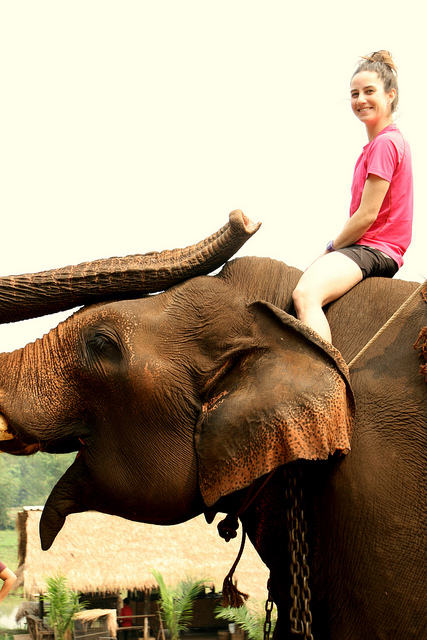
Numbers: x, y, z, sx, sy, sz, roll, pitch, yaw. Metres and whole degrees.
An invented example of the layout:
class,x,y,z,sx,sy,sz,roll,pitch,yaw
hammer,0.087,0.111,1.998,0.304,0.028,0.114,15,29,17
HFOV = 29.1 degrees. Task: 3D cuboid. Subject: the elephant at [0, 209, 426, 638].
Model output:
class,x,y,z,sx,sy,sz,roll,pitch,yaw
elephant,0.040,0.391,3.064,1.491,1.561,0.588,1,9,17
